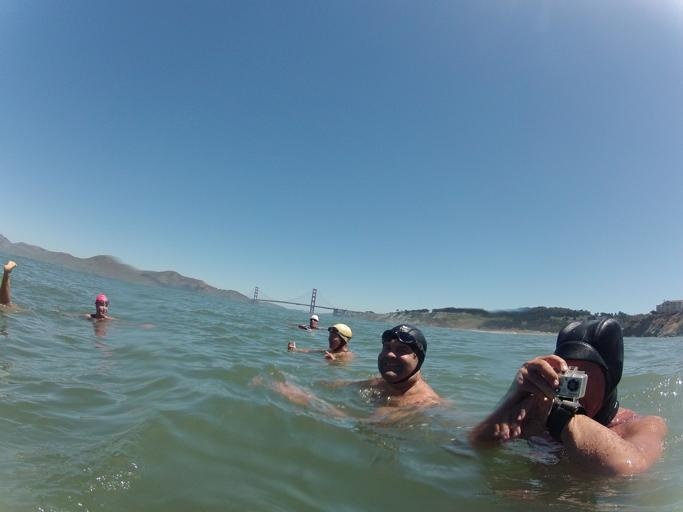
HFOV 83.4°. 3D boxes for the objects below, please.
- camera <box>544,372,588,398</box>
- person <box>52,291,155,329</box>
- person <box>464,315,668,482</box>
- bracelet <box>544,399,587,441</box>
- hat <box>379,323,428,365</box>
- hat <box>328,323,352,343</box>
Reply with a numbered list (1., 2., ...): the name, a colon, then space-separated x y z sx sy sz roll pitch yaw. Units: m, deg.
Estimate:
1. camera: 1.754 1.007 3.028 0.246 0.200 0.127 4 -20 34
2. person: -7.160 1.608 11.705 2.778 0.715 1.521 7 -6 -10
3. person: 2.151 1.187 3.668 1.004 1.011 1.517 5 0 -35
4. bracelet: 1.878 1.389 3.234 0.266 0.344 0.167 4 -8 31
5. hat: 0.932 1.197 5.628 0.597 0.418 0.616 5 -18 26
6. hat: 0.032 2.015 10.523 0.604 0.460 0.434 41 -15 0
